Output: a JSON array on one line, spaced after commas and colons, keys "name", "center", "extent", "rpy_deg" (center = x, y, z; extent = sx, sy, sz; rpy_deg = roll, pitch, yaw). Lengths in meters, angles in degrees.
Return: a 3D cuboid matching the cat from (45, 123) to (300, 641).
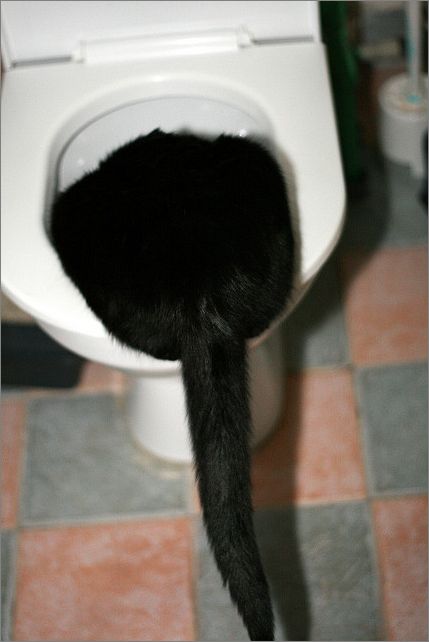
[{"name": "cat", "center": [-0.039, 0.026, 0.663], "extent": [0.206, 0.206, 0.508], "rpy_deg": [-9, 70, 1]}]
